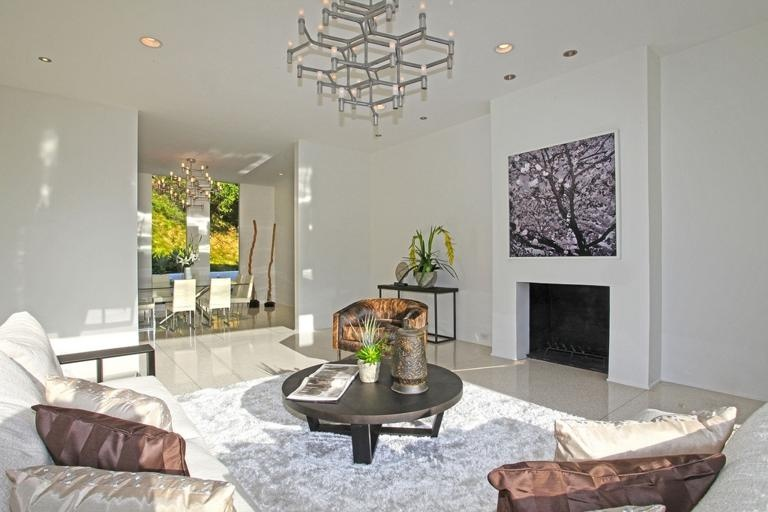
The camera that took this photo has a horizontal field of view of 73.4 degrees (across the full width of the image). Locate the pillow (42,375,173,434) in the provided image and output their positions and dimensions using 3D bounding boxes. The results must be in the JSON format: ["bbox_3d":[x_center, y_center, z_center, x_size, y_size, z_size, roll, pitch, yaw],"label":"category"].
[{"bbox_3d":[-1.820,0.955,3.389,0.563,0.162,0.485,11,-17,4],"label":"pillow"}]

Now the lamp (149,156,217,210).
[{"bbox_3d":[-4.284,-1.519,11.084,1.207,0.894,1.178,-1,12,-18],"label":"lamp"}]

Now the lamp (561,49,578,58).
[{"bbox_3d":[2.140,-2.321,5.920,0.160,0.058,0.169,6,11,36],"label":"lamp"}]

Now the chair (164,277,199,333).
[{"bbox_3d":[-3.667,0.820,8.983,0.568,0.793,0.542,-20,-10,9],"label":"chair"}]

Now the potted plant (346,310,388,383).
[{"bbox_3d":[-0.122,0.876,4.778,0.309,0.561,0.263,-2,1,37],"label":"potted plant"}]

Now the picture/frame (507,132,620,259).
[{"bbox_3d":[2.240,-0.738,6.281,1.653,1.625,0.066,-2,-4,42],"label":"picture/frame"}]

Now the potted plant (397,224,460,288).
[{"bbox_3d":[0.679,0.013,8.339,0.988,0.811,0.945,-2,-5,41],"label":"potted plant"}]

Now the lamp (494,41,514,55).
[{"bbox_3d":[1.354,-2.344,5.831,0.192,0.069,0.177,1,9,11],"label":"lamp"}]

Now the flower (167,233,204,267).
[{"bbox_3d":[-4.652,-0.053,12.361,0.574,0.625,0.597,11,6,18],"label":"flower"}]

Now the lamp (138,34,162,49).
[{"bbox_3d":[-2.586,-2.360,5.701,0.217,0.082,0.223,-5,10,-25],"label":"lamp"}]

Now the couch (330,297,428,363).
[{"bbox_3d":[0.006,0.946,6.434,1.072,0.727,0.858,3,7,27],"label":"couch"}]

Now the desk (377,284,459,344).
[{"bbox_3d":[0.520,0.803,7.051,0.282,0.499,0.880,-3,2,-34],"label":"desk"}]

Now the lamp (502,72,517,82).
[{"bbox_3d":[1.576,-2.229,6.429,0.155,0.055,0.163,1,9,13],"label":"lamp"}]
